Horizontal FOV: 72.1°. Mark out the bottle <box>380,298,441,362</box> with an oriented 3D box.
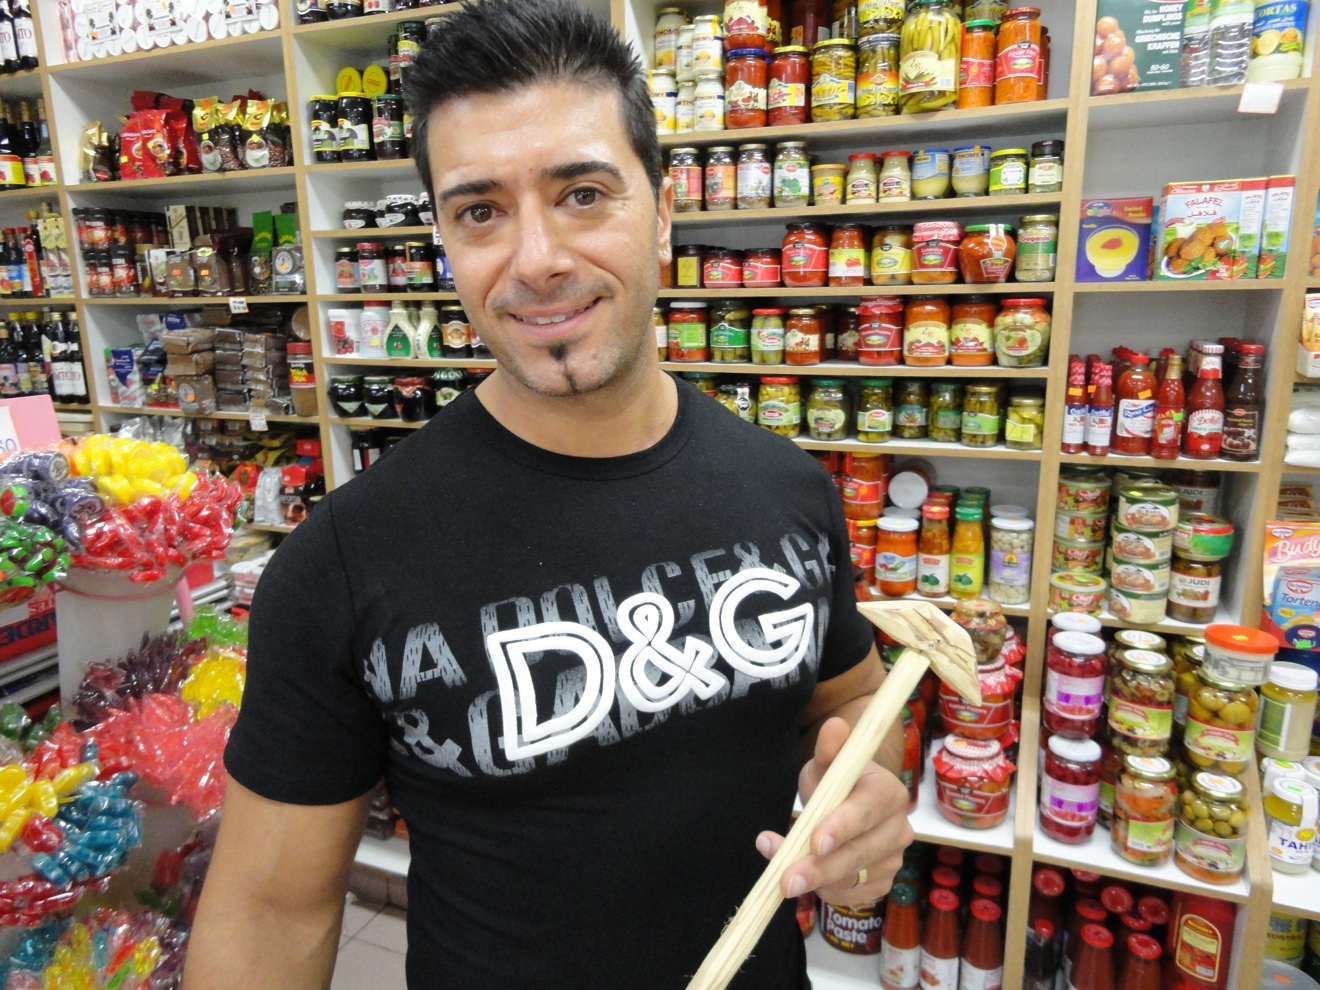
[{"bbox_3d":[-0.842,-0.544,3.064,0.256,0.237,0.118,0,1,17],"label":"bottle"}]
